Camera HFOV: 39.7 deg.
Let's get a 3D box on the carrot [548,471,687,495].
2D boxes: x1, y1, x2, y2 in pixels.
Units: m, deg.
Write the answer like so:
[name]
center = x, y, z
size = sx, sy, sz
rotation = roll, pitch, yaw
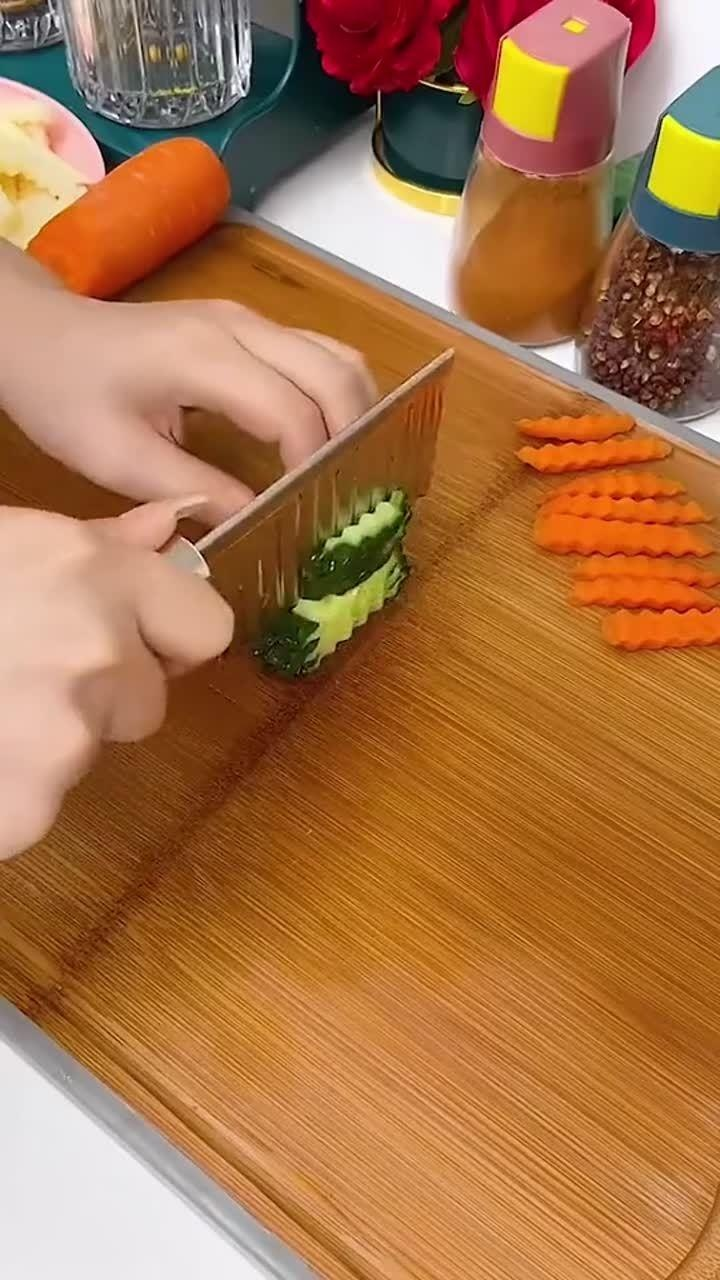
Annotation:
[carrot]
center = 0.114, -0.067, 0.427
size = 0.042, 0.010, 0.010
rotation = 1, 80, 9
